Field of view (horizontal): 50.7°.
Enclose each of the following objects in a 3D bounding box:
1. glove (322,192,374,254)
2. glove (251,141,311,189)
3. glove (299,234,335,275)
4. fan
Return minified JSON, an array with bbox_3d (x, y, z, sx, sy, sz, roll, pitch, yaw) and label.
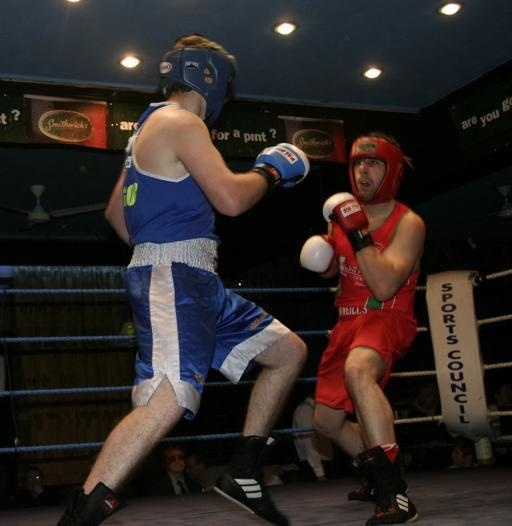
[{"bbox_3d":[0.366,-0.176,2.059,0.175,0.304,0.114,-19,-41,6],"label":"glove"},{"bbox_3d":[0.076,-0.320,1.666,0.150,0.131,0.168,-6,14,6],"label":"glove"},{"bbox_3d":[0.270,-0.040,2.372,0.159,0.137,0.116,18,21,18],"label":"glove"},{"bbox_3d":[-2.121,-0.547,5.630,0.868,0.236,0.762,3,-9,-34],"label":"fan"}]
